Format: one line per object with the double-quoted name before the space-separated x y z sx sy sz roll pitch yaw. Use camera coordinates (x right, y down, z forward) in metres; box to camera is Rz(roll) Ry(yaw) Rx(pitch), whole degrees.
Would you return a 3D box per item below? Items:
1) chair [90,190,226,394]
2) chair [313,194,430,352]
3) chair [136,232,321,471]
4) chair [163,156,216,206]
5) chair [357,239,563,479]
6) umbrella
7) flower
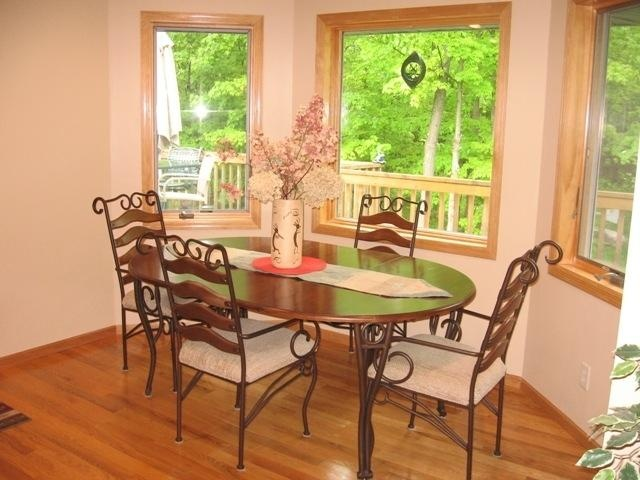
"chair" -1.189 0.294 3.746 0.701 1.264 0.683 -10 17 -37
"chair" 0.475 0.265 3.562 0.667 1.121 0.715 8 13 2
"chair" -0.443 0.569 2.901 0.801 1.211 0.884 5 6 19
"chair" -1.092 -0.532 4.553 0.492 0.449 0.322 6 10 -9
"chair" 0.754 0.600 2.720 0.752 1.238 0.964 11 19 34
"umbrella" -1.290 -1.225 4.311 0.217 0.985 0.123 -5 17 -16
"flower" -0.268 -0.412 3.030 0.652 0.548 0.645 3 -2 -25
